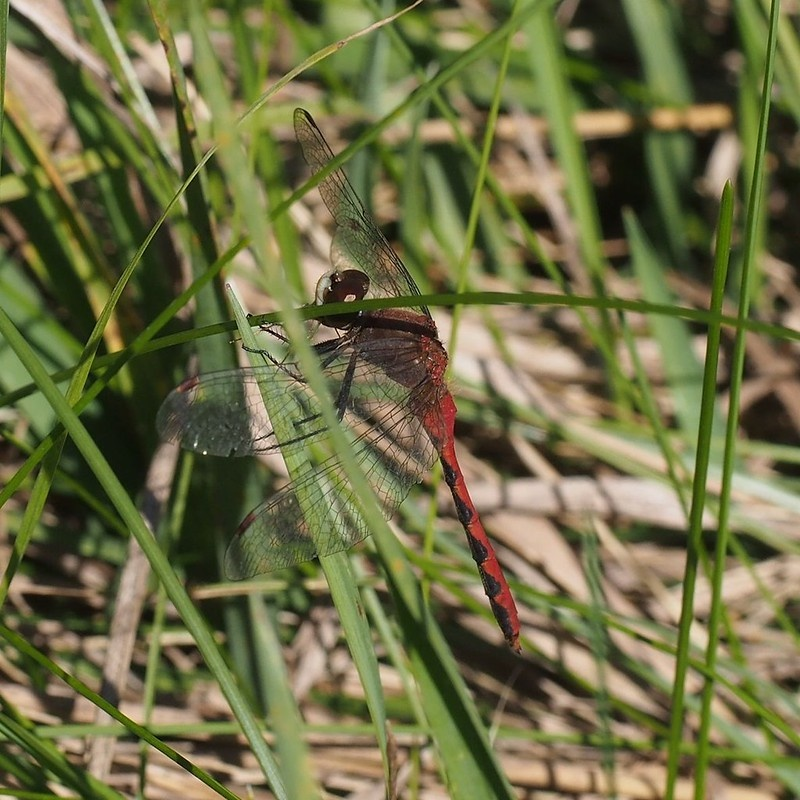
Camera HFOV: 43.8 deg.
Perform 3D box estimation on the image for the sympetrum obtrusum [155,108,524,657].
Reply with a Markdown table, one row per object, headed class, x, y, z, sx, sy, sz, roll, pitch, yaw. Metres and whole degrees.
| class | x | y | z | sx | sy | sz | roll | pitch | yaw |
| --- | --- | --- | --- | --- | --- | --- | --- | --- | --- |
| sympetrum obtrusum | -0.014 | -0.049 | 2.060 | 0.806 | 0.967 | 0.356 | 21 | -35 | -12 |
